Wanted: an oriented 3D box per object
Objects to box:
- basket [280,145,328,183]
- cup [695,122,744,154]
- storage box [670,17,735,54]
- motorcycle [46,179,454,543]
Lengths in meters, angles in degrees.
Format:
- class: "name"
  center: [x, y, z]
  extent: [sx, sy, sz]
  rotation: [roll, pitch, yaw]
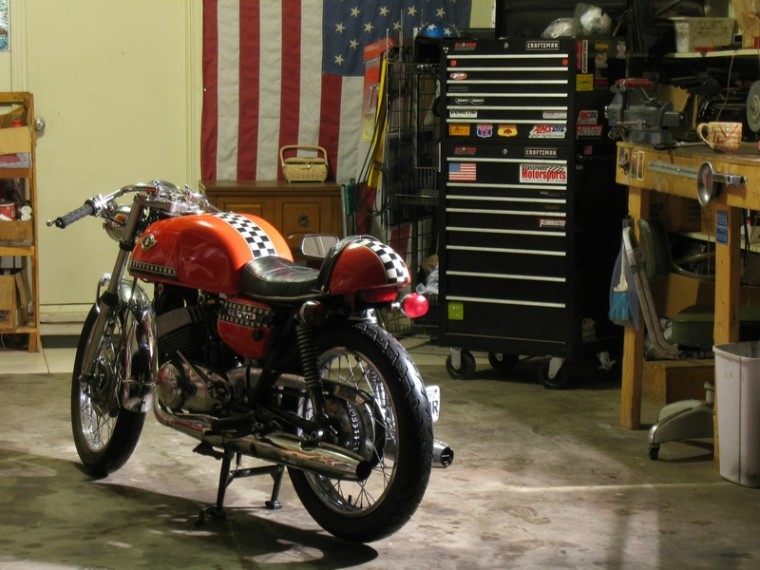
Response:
- class: "basket"
  center: [-0.555, -0.897, 5.818]
  extent: [0.357, 0.277, 0.513]
  rotation: [-1, 9, -8]
- class: "cup"
  center: [1.473, -0.649, 3.458]
  extent: [0.121, 0.129, 0.239]
  rotation: [-1, 9, -8]
- class: "storage box"
  center: [1.846, -1.452, 4.540]
  extent: [0.314, 0.224, 0.207]
  rotation: [0, 1, -2]
- class: "motorcycle"
  center: [-0.493, 0.256, 3.424]
  extent: [2.058, 1.237, 0.886]
  rotation: [8, 2, 44]
